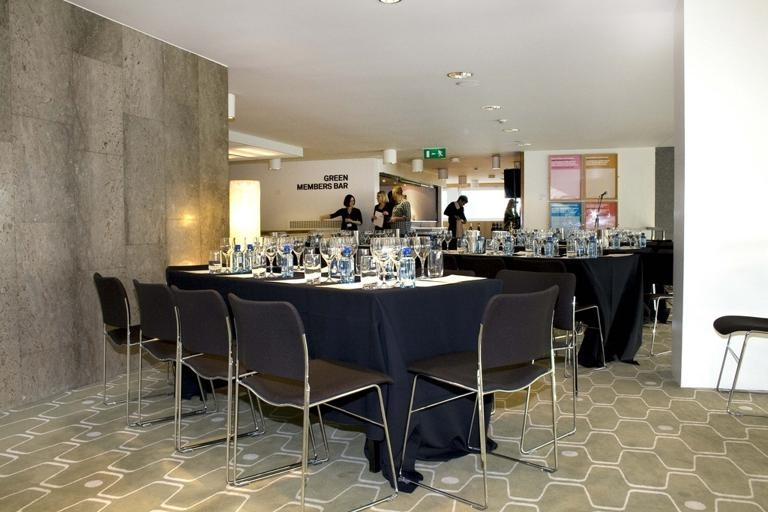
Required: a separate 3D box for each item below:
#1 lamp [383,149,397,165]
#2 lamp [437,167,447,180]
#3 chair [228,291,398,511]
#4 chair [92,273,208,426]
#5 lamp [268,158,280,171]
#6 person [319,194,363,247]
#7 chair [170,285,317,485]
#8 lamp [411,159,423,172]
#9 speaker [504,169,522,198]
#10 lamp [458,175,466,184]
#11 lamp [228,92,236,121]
[{"bbox_3d":[0.152,-2.643,14.300,0.355,0.387,0.357,3,9,5],"label":"lamp"},{"bbox_3d":[2.013,-2.838,18.476,0.326,0.374,0.330,-1,1,1],"label":"lamp"},{"bbox_3d":[-0.556,0.903,3.663,1.160,1.373,0.789,9,15,43],"label":"chair"},{"bbox_3d":[-2.114,0.788,4.876,0.716,1.238,0.807,3,3,44],"label":"chair"},{"bbox_3d":[-3.133,-2.648,15.412,0.273,0.271,0.256,-1,5,-21],"label":"lamp"},{"bbox_3d":[-1.155,-0.761,14.253,1.112,1.711,0.494,-9,38,-14],"label":"person"},{"bbox_3d":[-0.958,0.863,3.948,0.827,1.191,0.855,7,0,22],"label":"chair"},{"bbox_3d":[0.969,-2.702,15.992,0.301,0.346,0.304,1,10,3],"label":"lamp"},{"bbox_3d":[3.663,-2.101,15.427,0.373,0.836,1.139,1,10,7],"label":"speaker"},{"bbox_3d":[3.136,-3.059,21.502,0.284,0.300,0.318,-6,11,-27],"label":"lamp"},{"bbox_3d":[-2.385,-2.340,8.398,0.099,0.441,0.531,-4,11,-17],"label":"lamp"}]
